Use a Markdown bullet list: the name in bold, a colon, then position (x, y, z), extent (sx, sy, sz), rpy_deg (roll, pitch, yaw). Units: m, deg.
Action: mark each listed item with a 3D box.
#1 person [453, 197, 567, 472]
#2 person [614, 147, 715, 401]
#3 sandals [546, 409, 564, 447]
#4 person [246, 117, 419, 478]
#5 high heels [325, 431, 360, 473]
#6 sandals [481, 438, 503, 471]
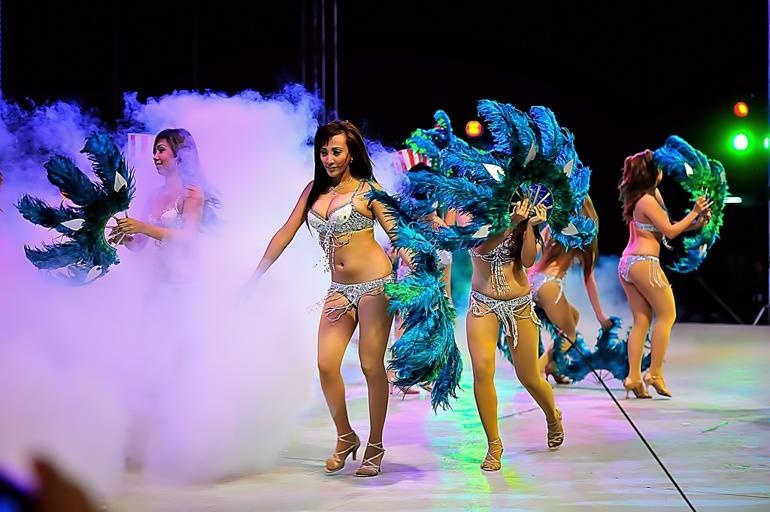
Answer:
- **person**: position (0.905, 0.522, 4.345), extent (0.692, 1.800, 0.395), rpy_deg (-1, 2, -14)
- **person**: position (2.690, 0.178, 6.162), extent (0.760, 2.452, 0.510), rpy_deg (-1, 2, -12)
- **sandals**: position (1.238, 1.280, 4.570), extent (0.108, 0.116, 0.309), rpy_deg (-3, 14, 13)
- **person**: position (-0.313, 0.265, 4.173), extent (0.775, 2.351, 0.439), rpy_deg (-1, 2, 0)
- **high heels**: position (-0.298, 1.315, 4.235), extent (0.124, 0.217, 0.393), rpy_deg (-6, -3, 30)
- **sandals**: position (0.724, 1.335, 4.236), extent (0.130, 0.184, 0.244), rpy_deg (0, 1, 12)
